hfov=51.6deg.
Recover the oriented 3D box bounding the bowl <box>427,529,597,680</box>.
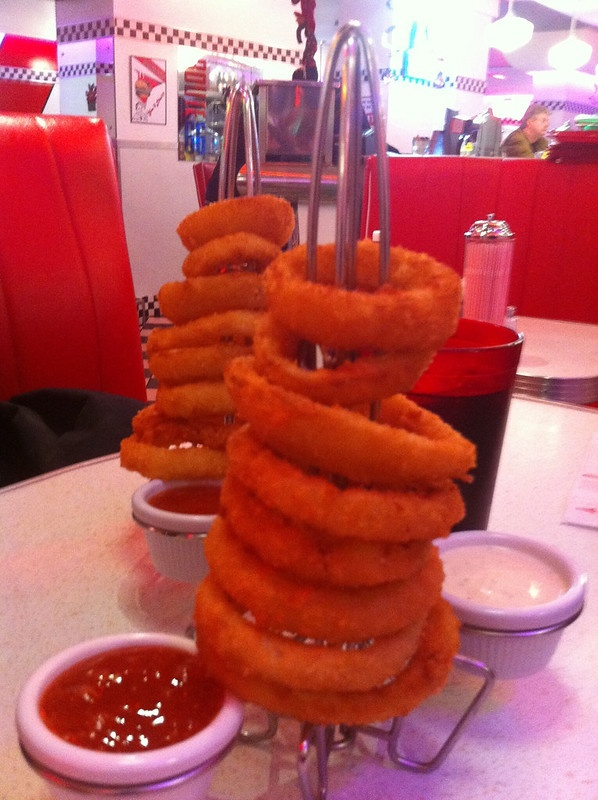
[{"bbox_3d":[0.142,0.117,0.425,0.099,0.056,0.097,0,14,0],"label":"bowl"}]

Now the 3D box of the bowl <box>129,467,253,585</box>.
[{"bbox_3d":[-0.084,0.094,0.498,0.094,0.064,0.091,2,13,-1],"label":"bowl"}]

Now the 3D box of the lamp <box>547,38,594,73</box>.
[{"bbox_3d":[2.951,-3.834,6.762,0.408,0.357,0.331,-3,10,-36],"label":"lamp"}]
